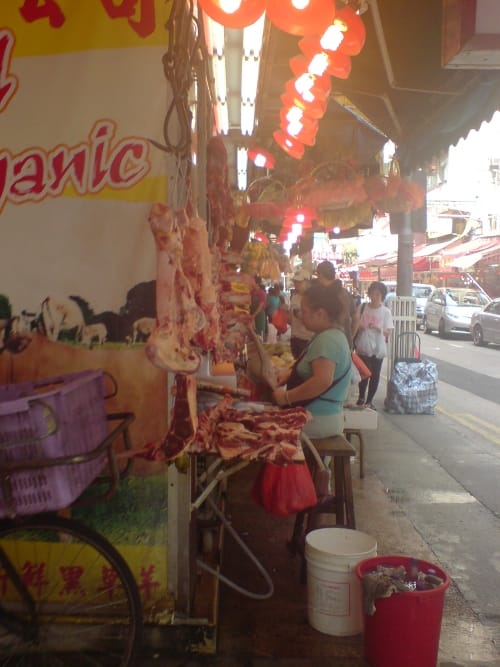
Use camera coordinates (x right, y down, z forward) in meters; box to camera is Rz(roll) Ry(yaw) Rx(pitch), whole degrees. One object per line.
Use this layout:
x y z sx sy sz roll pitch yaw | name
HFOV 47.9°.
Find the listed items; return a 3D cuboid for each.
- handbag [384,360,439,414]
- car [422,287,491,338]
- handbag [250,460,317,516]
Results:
2.363 0.831 8.488 0.734 0.805 0.739 2 -14 3 | handbag
6.963 -0.760 19.119 1.338 1.017 2.286 1 -1 1 | car
0.149 0.743 2.759 0.317 0.304 0.249 2 4 15 | handbag
